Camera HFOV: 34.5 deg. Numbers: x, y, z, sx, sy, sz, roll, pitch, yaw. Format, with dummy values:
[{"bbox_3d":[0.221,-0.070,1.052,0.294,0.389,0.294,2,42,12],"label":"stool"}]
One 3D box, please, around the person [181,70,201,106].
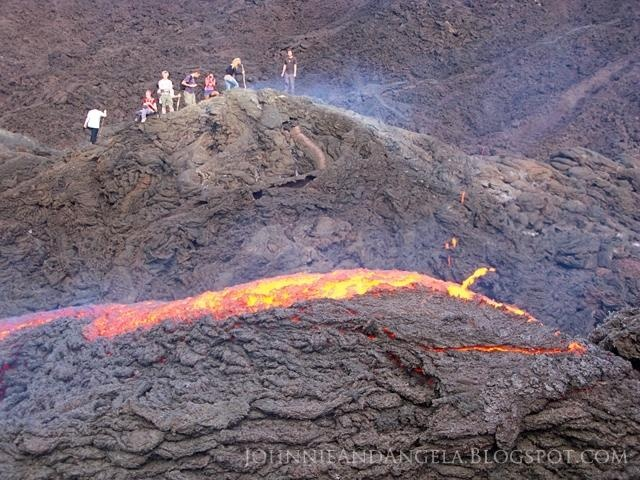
[{"bbox_3d":[-4.973,-5.793,39.682,0.788,0.746,2.189,0,-14,-11],"label":"person"}]
